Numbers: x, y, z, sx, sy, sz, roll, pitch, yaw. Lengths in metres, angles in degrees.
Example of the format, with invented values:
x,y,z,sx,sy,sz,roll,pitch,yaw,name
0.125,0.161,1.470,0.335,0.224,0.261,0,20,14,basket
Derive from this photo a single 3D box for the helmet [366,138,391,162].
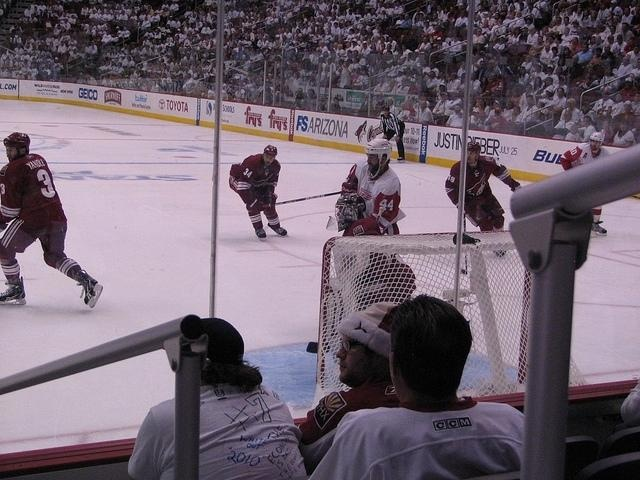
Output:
x,y,z,sx,sy,sz,roll,pitch,yaw,name
0.490,-0.761,5.442,0.190,0.186,0.152,10,9,4,helmet

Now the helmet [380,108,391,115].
x,y,z,sx,sy,sz,roll,pitch,yaw,name
1.241,-2.492,12.538,0.157,0.124,0.194,5,-31,5,helmet

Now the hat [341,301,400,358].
x,y,z,sx,sy,sz,roll,pitch,yaw,name
0.195,0.296,2.023,0.119,0.197,0.145,12,-8,-4,hat

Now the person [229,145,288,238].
x,y,z,sx,sy,sz,roll,pitch,yaw,name
-0.722,-0.608,7.849,0.717,1.098,0.566,2,11,-6,person

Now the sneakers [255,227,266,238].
x,y,z,sx,sy,sz,roll,pitch,yaw,name
-0.704,-0.098,7.780,0.144,0.134,0.225,3,12,-5,sneakers

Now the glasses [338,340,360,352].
x,y,z,sx,sy,sz,roll,pitch,yaw,name
0.091,0.337,2.058,0.039,0.045,0.049,3,-28,-38,glasses
